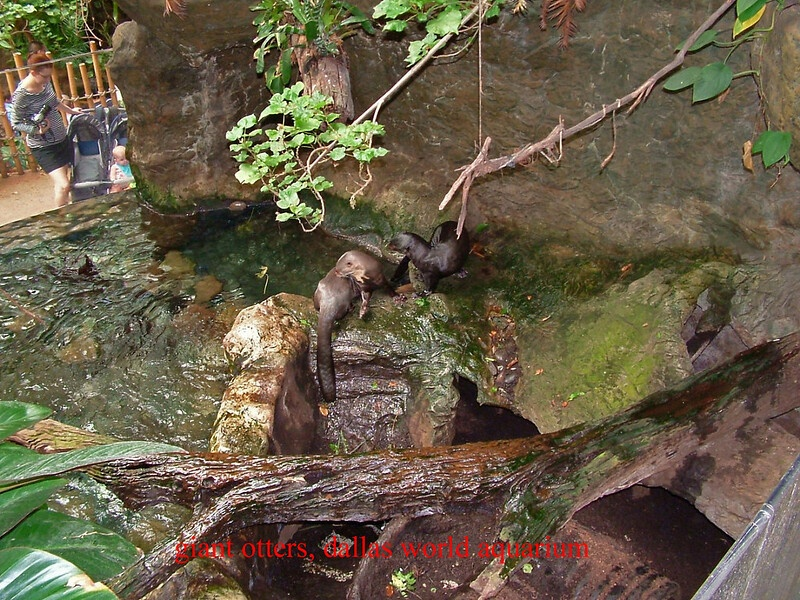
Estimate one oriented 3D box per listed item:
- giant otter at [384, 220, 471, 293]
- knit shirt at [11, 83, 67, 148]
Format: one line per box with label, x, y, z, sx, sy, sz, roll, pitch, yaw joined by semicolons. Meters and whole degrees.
giant otter;0.377;-0.453;6.205;0.808;0.586;0.517;-31;50;-10
knit shirt;-4.293;-2.258;7.758;0.391;0.712;0.720;5;33;6
